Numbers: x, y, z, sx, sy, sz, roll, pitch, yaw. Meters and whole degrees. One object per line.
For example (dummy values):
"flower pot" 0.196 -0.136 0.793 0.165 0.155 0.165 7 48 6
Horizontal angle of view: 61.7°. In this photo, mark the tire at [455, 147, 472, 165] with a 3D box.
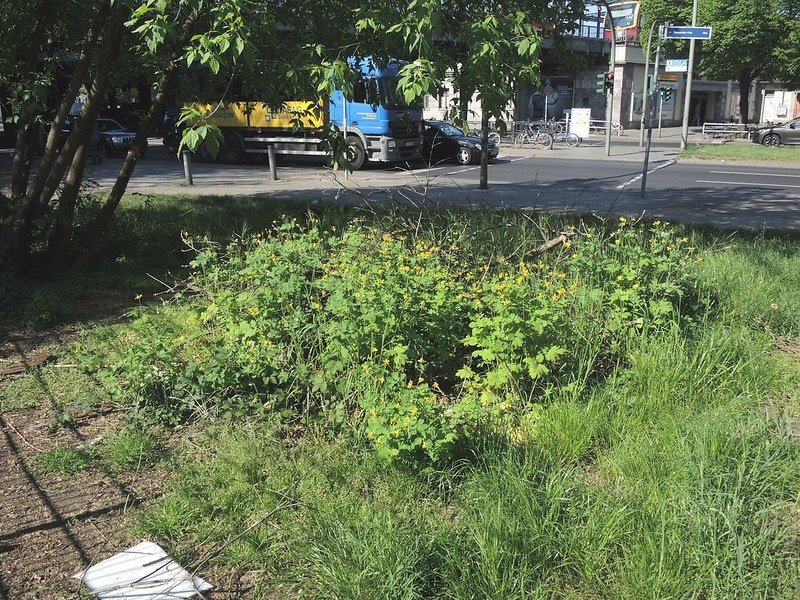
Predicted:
"tire" 2.406 -5.306 24.561 0.552 0.605 0.424 2 12 4

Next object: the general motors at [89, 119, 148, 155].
"general motors" -12.202 -6.992 28.754 1.307 1.488 4.025 -5 16 -25

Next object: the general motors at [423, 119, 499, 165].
"general motors" 1.945 -5.845 24.868 2.165 1.521 2.064 6 14 20

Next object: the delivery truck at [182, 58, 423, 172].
"delivery truck" -3.609 -6.771 23.838 7.324 3.757 2.934 6 17 16
